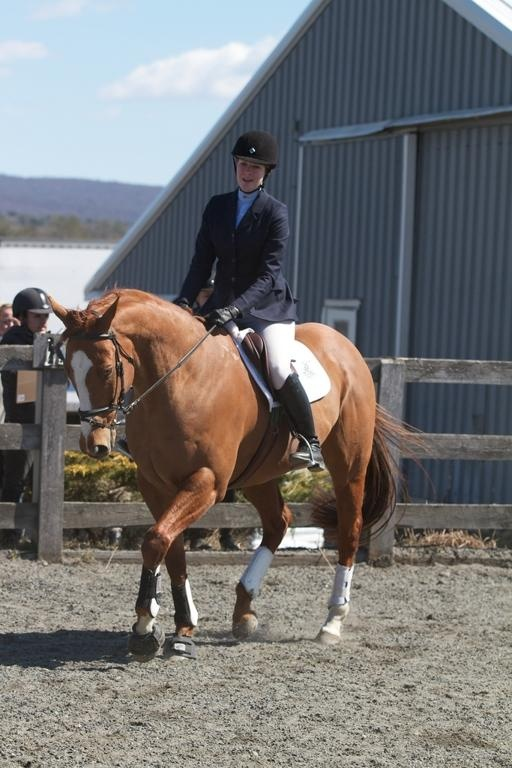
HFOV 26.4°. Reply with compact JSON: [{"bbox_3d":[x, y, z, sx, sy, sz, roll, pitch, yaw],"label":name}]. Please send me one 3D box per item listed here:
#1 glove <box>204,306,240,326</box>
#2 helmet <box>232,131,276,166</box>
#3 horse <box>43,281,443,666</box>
[{"bbox_3d":[-0.157,-0.348,5.559,0.100,0.050,0.137,-14,-7,39],"label":"glove"},{"bbox_3d":[-0.008,-1.260,5.800,0.233,0.203,0.244,3,4,0],"label":"helmet"},{"bbox_3d":[-0.002,0.487,5.942,0.703,1.952,2.773,1,1,38],"label":"horse"}]
